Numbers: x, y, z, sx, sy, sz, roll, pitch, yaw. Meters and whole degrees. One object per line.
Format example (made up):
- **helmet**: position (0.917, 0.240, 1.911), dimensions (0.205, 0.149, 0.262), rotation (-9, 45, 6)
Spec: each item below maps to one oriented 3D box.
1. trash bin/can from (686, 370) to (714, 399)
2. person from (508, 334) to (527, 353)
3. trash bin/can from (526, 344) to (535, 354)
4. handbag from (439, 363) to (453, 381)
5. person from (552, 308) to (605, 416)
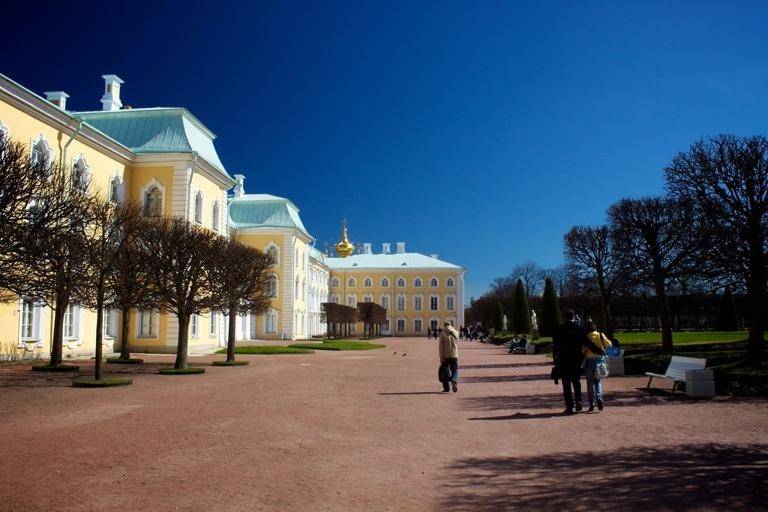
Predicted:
- **trash bin/can**: position (9.132, 3.655, 18.198), dimensions (0.786, 0.786, 0.611), rotation (-3, -9, 13)
- **person**: position (8.943, 5.907, 42.364), dimensions (1.162, 1.607, 2.726), rotation (-5, -5, 13)
- **trash bin/can**: position (9.014, 5.689, 38.692), dimensions (0.508, 0.703, 0.704), rotation (0, -1, 6)
- **handbag**: position (1.887, 3.575, 19.417), dimensions (0.477, 0.524, 0.195), rotation (6, -11, -36)
- **person**: position (4.916, 2.731, 16.508), dimensions (1.083, 2.612, 1.321), rotation (-3, -9, 11)
